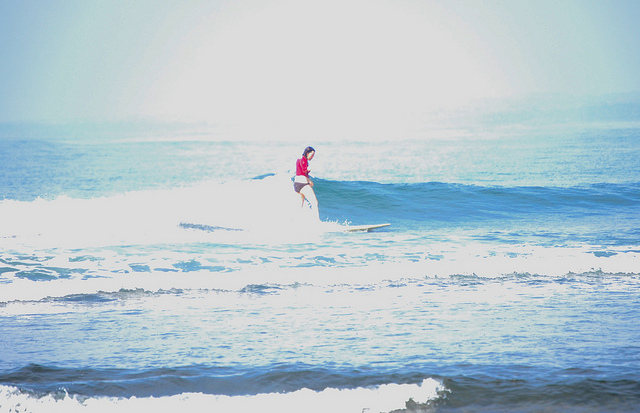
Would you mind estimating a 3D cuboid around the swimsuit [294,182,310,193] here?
[{"bbox_3d":[-0.819,-0.857,38.225,0.571,0.419,0.381,-12,-47,-10],"label":"swimsuit"}]
